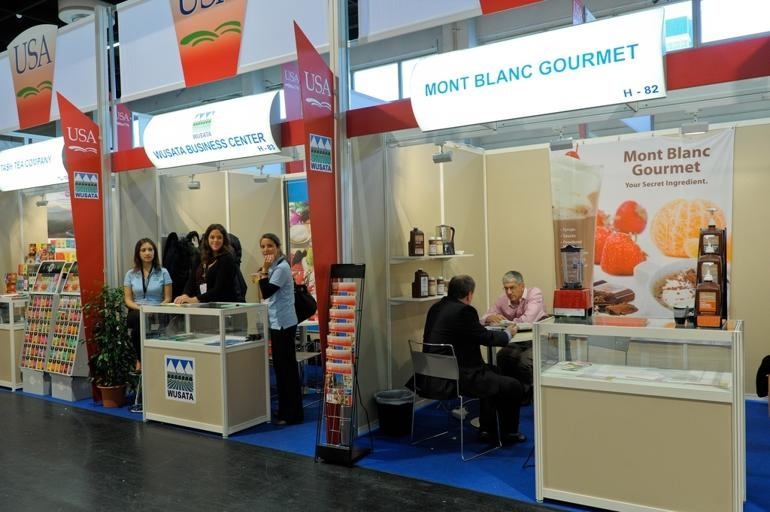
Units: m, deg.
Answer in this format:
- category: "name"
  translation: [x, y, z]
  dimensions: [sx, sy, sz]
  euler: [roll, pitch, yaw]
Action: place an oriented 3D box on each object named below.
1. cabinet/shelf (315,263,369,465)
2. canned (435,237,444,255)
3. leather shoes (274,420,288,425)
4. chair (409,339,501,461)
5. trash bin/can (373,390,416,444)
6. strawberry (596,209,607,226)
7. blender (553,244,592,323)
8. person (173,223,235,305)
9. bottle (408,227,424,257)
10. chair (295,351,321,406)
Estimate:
- category: "cabinet/shelf"
  translation: [-0.431, 1.054, 5.994]
  dimensions: [0.555, 1.939, 0.780]
  euler: [-1, 9, 7]
- category: "canned"
  translation: [0.702, -0.118, 7.507]
  dimensions: [0.127, 0.217, 0.194]
  euler: [1, 5, 3]
- category: "leather shoes"
  translation: [-1.218, 1.936, 6.812]
  dimensions: [0.131, 0.053, 0.076]
  euler: [4, -3, 0]
- category: "chair"
  translation: [0.691, 1.422, 6.333]
  dimensions: [0.868, 1.124, 1.254]
  euler: [-2, 8, -5]
- category: "trash bin/can"
  translation: [0.112, 1.757, 6.400]
  dimensions: [0.443, 0.380, 0.467]
  euler: [-1, 1, 0]
- category: "strawberry"
  translation: [2.871, -0.508, 7.695]
  dimensions: [0.130, 0.208, 0.056]
  euler: [1, 9, 19]
- category: "blender"
  translation: [1.702, 0.221, 5.284]
  dimensions: [0.314, 0.647, 0.235]
  euler: [1, 9, 16]
- category: "person"
  translation: [-2.127, 0.102, 7.073]
  dimensions: [0.778, 0.943, 0.597]
  euler: [-1, 8, 6]
- category: "bottle"
  translation: [0.386, -0.177, 7.172]
  dimensions: [0.185, 0.342, 0.371]
  euler: [0, 8, 9]
- category: "chair"
  translation: [-1.023, 1.637, 7.733]
  dimensions: [0.400, 0.501, 0.738]
  euler: [-5, 10, -26]
